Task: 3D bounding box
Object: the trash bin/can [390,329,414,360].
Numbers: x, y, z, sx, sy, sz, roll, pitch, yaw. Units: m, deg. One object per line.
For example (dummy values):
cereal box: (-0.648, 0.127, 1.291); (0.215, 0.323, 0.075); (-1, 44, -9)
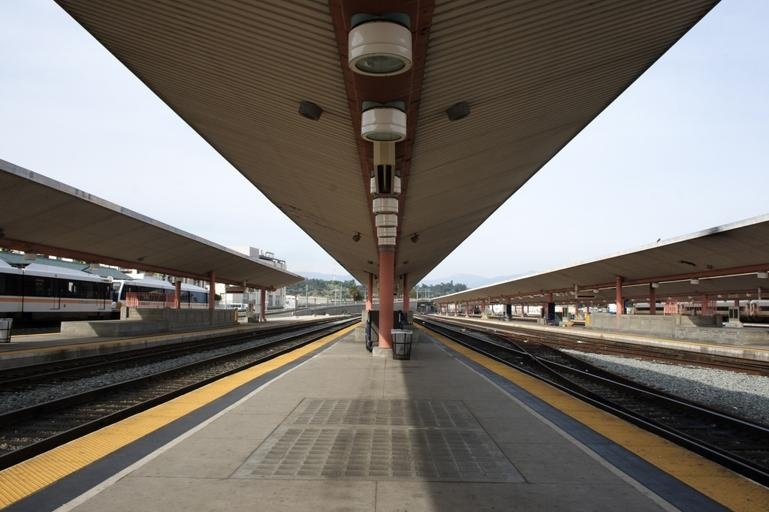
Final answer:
trash bin/can: (0.574, 3.057, 14.895); (0.693, 0.973, 0.726); (-2, -8, -1)
